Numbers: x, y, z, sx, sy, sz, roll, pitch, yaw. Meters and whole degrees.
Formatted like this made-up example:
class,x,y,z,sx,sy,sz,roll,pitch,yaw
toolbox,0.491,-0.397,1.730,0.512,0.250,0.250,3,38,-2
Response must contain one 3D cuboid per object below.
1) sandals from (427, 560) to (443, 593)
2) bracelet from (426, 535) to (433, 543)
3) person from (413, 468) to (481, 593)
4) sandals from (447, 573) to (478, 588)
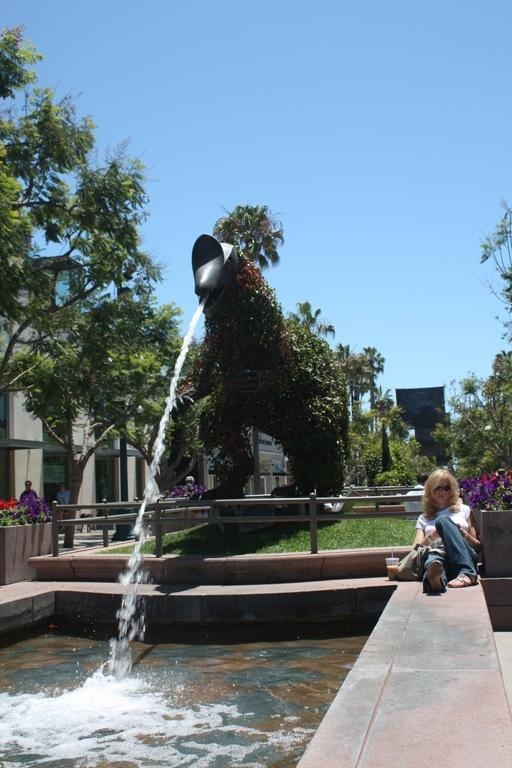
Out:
class,x,y,z,sx,sy,sz,roll,pitch,yaw
sandals,1.257,1.357,5.441,0.082,0.263,0.126,-1,15,11
bracelet,1.395,1.248,6.235,0.056,0.054,0.048,-6,15,10
person,1.439,1.106,5.995,0.502,0.891,1.349,-8,-1,13
sandals,1.495,1.411,5.560,0.183,0.064,0.093,11,-25,-26
